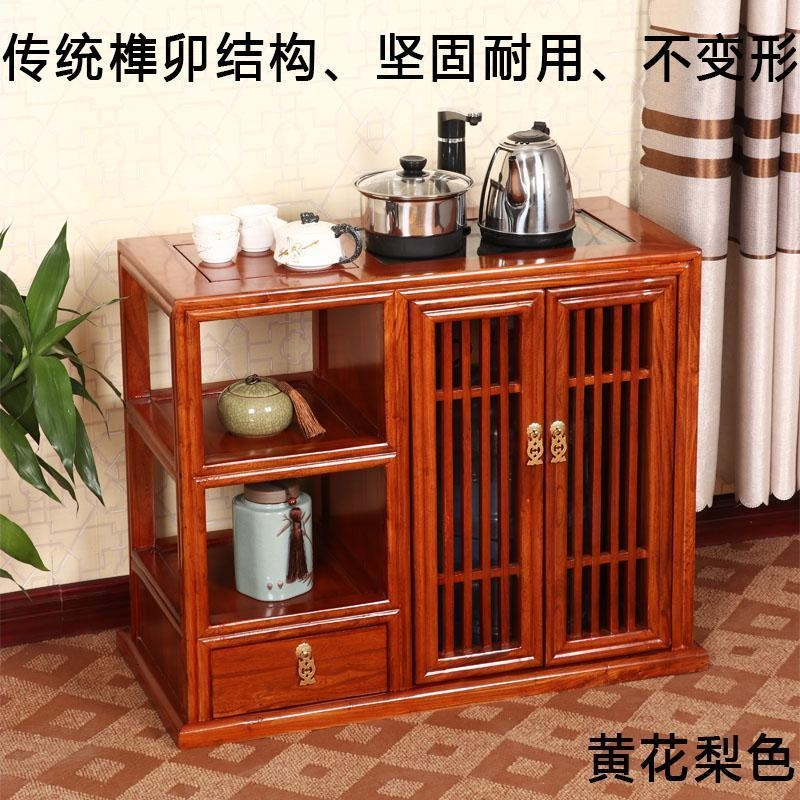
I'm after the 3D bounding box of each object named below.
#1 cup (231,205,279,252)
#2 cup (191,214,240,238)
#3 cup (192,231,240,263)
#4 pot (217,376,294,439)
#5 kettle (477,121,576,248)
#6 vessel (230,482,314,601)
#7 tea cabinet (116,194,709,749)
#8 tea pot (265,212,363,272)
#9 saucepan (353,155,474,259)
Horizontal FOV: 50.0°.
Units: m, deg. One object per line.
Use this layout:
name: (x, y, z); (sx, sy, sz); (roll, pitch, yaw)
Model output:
cup: (-0.256, -0.308, 1.559); (0.083, 0.073, 0.092); (2, 18, 3)
cup: (-0.317, -0.309, 1.497); (0.064, 0.029, 0.064); (-3, 33, 2)
cup: (-0.308, -0.267, 1.520); (0.065, 0.057, 0.114); (6, 15, 27)
pot: (-0.255, 0.008, 1.528); (0.121, 0.087, 0.120); (0, 17, 0)
kettle: (0.238, -0.402, 1.613); (0.175, 0.197, 0.238); (5, 28, 13)
vessel: (-0.235, 0.255, 1.590); (0.148, 0.218, 0.093); (-3, 14, -10)
tea cabinet: (0.028, 0.142, 1.732); (0.982, 0.783, 0.507); (-4, 8, -15)
tea pot: (-0.149, -0.271, 1.474); (0.149, 0.076, 0.101); (19, 29, 31)
saucepan: (0.037, -0.350, 1.569); (0.229, 0.177, 0.210); (-3, 14, -9)
